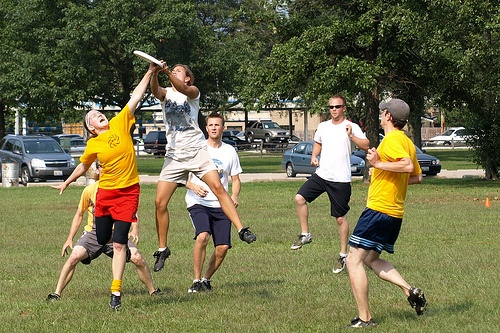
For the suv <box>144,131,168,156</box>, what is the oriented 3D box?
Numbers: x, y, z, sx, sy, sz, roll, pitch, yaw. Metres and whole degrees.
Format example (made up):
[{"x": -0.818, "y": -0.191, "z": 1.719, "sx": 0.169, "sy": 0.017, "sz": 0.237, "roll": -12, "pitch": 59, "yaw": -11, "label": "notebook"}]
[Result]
[{"x": -7.413, "y": -1.830, "z": 50.667, "sx": 1.956, "sy": 1.850, "sz": 3.315, "roll": 2, "pitch": 11, "yaw": 10, "label": "suv"}]

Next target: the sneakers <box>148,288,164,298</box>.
[{"x": -1.590, "y": 2.115, "z": 10.928, "sx": 0.218, "sy": 0.094, "sz": 0.086, "roll": 2, "pitch": 0, "yaw": 6, "label": "sneakers"}]

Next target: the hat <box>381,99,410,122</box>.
[{"x": 2.158, "y": -0.861, "z": 9.532, "sx": 0.457, "sy": 0.246, "sz": 0.339, "roll": 20, "pitch": 29, "yaw": 16, "label": "hat"}]

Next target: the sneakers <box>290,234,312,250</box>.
[{"x": 0.996, "y": 1.437, "z": 12.563, "sx": 0.371, "sy": 0.287, "sz": 0.204, "roll": 0, "pitch": 4, "yaw": 0, "label": "sneakers"}]

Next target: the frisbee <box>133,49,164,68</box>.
[{"x": -1.632, "y": -1.783, "z": 10.201, "sx": 0.468, "sy": 0.109, "sz": 0.352, "roll": 14, "pitch": -3, "yaw": 0, "label": "frisbee"}]

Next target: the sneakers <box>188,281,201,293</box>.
[{"x": -0.956, "y": 2.047, "z": 11.017, "sx": 0.111, "sy": 0.120, "sz": 0.286, "roll": 0, "pitch": -6, "yaw": 13, "label": "sneakers"}]

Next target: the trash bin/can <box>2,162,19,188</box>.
[{"x": -10.202, "y": 0.339, "z": 27.442, "sx": 0.634, "sy": 0.978, "sz": 0.698, "roll": -2, "pitch": 5, "yaw": -24, "label": "trash bin/can"}]

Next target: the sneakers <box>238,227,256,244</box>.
[{"x": -0.052, "y": 1.076, "z": 10.180, "sx": 0.189, "sy": 0.237, "sz": 0.342, "roll": -1, "pitch": 5, "yaw": -16, "label": "sneakers"}]

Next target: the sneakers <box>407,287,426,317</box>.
[{"x": 2.467, "y": 1.988, "z": 9.483, "sx": 0.176, "sy": 0.470, "sz": 0.201, "roll": -34, "pitch": 42, "yaw": -14, "label": "sneakers"}]

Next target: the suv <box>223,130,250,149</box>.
[{"x": -1.676, "y": -2.388, "z": 62.076, "sx": 3.555, "sy": 1.803, "sz": 2.012, "roll": -4, "pitch": 10, "yaw": -20, "label": "suv"}]

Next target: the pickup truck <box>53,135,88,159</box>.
[{"x": -16.156, "y": -1.667, "z": 58.352, "sx": 3.104, "sy": 1.474, "sz": 1.561, "roll": -4, "pitch": 1, "yaw": -43, "label": "pickup truck"}]

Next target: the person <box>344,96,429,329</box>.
[{"x": 2.020, "y": 0.661, "z": 9.482, "sx": 1.068, "sy": 3.300, "sz": 0.962, "roll": 2, "pitch": 5, "yaw": 24, "label": "person"}]

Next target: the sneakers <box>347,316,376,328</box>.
[{"x": 1.609, "y": 2.262, "z": 9.449, "sx": 0.375, "sy": 0.161, "sz": 0.135, "roll": 2, "pitch": -4, "yaw": 4, "label": "sneakers"}]

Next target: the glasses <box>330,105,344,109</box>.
[{"x": 1.653, "y": -1.169, "z": 12.622, "sx": 0.300, "sy": 0.067, "sz": 0.132, "roll": 4, "pitch": 6, "yaw": 35, "label": "glasses"}]

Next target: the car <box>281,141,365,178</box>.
[{"x": 3.091, "y": -0.359, "z": 31.563, "sx": 1.699, "sy": 1.537, "sz": 3.635, "roll": -1, "pitch": 0, "yaw": -42, "label": "car"}]

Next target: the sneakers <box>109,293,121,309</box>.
[{"x": -2.128, "y": 2.106, "z": 10.197, "sx": 0.160, "sy": 0.224, "sz": 0.167, "roll": -1, "pitch": 4, "yaw": -12, "label": "sneakers"}]
